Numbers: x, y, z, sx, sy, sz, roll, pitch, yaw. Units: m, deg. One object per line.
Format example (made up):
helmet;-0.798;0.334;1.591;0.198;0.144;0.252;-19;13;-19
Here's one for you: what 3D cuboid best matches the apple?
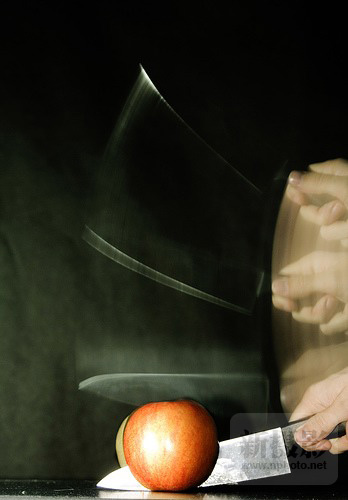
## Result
apple;-0.003;0.221;0.563;0.100;0.098;0.100;4;-7;-29
